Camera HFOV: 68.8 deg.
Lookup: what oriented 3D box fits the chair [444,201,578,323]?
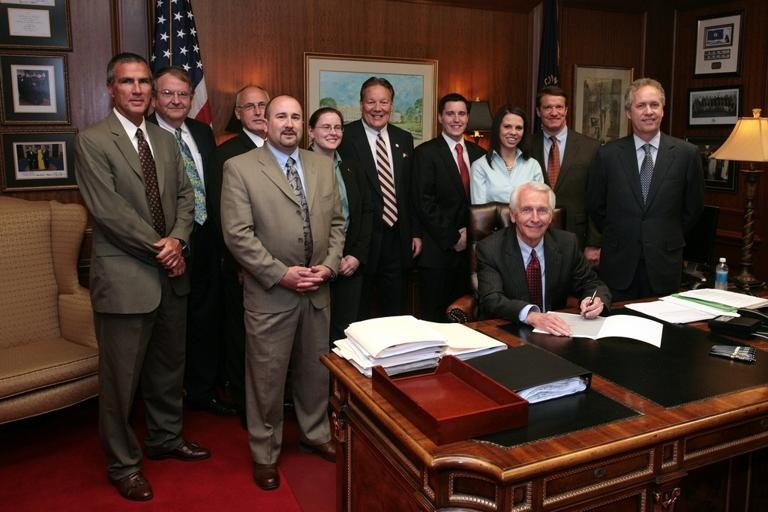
[{"bbox_3d":[0.737,0.046,4.114,0.780,1.182,0.694,1,3,-4],"label":"chair"}]

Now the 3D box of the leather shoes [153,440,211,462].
[{"bbox_3d":[-1.378,1.307,3.787,0.355,0.150,0.148,-1,2,-12],"label":"leather shoes"}]

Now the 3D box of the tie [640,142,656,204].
[{"bbox_3d":[1.917,-0.598,4.088,0.070,0.454,0.058,-1,-8,13],"label":"tie"}]

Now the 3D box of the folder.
[{"bbox_3d":[0.648,0.522,2.550,0.281,0.071,0.283,-8,15,-29],"label":"folder"}]

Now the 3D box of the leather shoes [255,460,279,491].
[{"bbox_3d":[-0.735,1.385,3.510,0.081,0.150,0.230,2,-6,-24],"label":"leather shoes"}]

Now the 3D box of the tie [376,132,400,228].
[{"bbox_3d":[0.018,-0.611,4.495,0.158,0.719,0.279,-4,15,-12],"label":"tie"}]

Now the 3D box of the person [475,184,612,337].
[{"bbox_3d":[1.017,0.049,3.623,0.736,1.365,0.757,-5,10,-12],"label":"person"}]

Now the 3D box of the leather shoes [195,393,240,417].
[{"bbox_3d":[-1.282,1.157,4.296,0.424,0.178,0.149,2,5,4],"label":"leather shoes"}]
